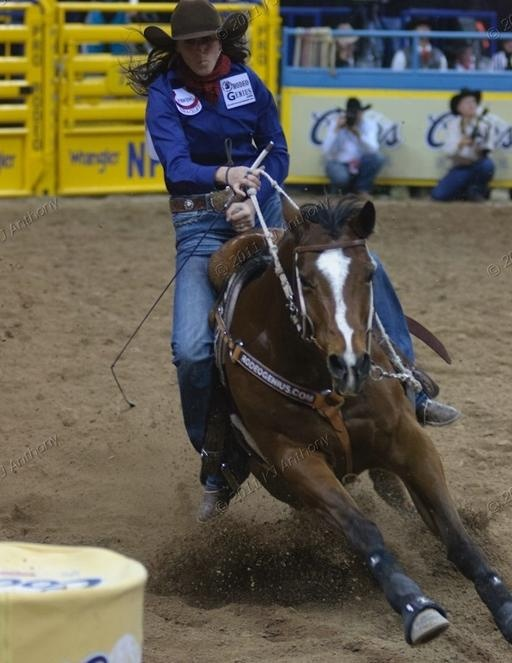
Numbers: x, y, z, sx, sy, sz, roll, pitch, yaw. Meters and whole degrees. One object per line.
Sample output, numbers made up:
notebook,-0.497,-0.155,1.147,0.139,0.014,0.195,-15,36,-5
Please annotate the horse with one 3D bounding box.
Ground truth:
horse,0.385,0.275,4.479,0.780,1.556,1.421,-4,11,-17

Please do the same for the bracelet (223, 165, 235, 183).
bracelet,-0.114,-0.644,4.870,0.036,0.080,0.105,-2,10,-6

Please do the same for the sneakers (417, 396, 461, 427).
sneakers,0.832,0.373,5.351,0.283,0.089,0.113,5,-29,-9
